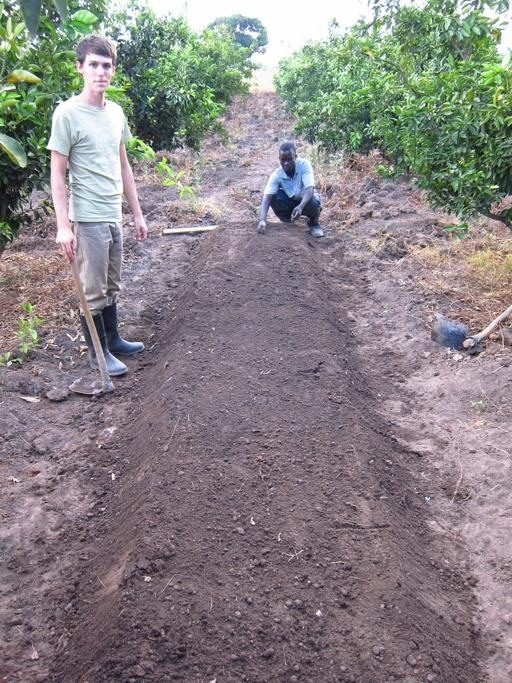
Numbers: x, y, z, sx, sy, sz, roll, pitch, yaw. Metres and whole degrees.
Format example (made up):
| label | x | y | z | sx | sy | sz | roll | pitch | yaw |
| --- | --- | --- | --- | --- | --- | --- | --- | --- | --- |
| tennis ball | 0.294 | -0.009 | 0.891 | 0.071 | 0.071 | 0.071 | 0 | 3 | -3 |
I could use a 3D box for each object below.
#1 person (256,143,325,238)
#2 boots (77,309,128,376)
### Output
| label | x | y | z | sx | sy | sz | roll | pitch | yaw |
| --- | --- | --- | --- | --- | --- | --- | --- | --- | --- |
| person | 0.345 | -1.443 | 5.965 | 0.604 | 0.871 | 1.006 | 6 | 30 | 19 |
| boots | -1.050 | 0.024 | 4.132 | 0.391 | 0.538 | 0.157 | 3 | 40 | 1 |
